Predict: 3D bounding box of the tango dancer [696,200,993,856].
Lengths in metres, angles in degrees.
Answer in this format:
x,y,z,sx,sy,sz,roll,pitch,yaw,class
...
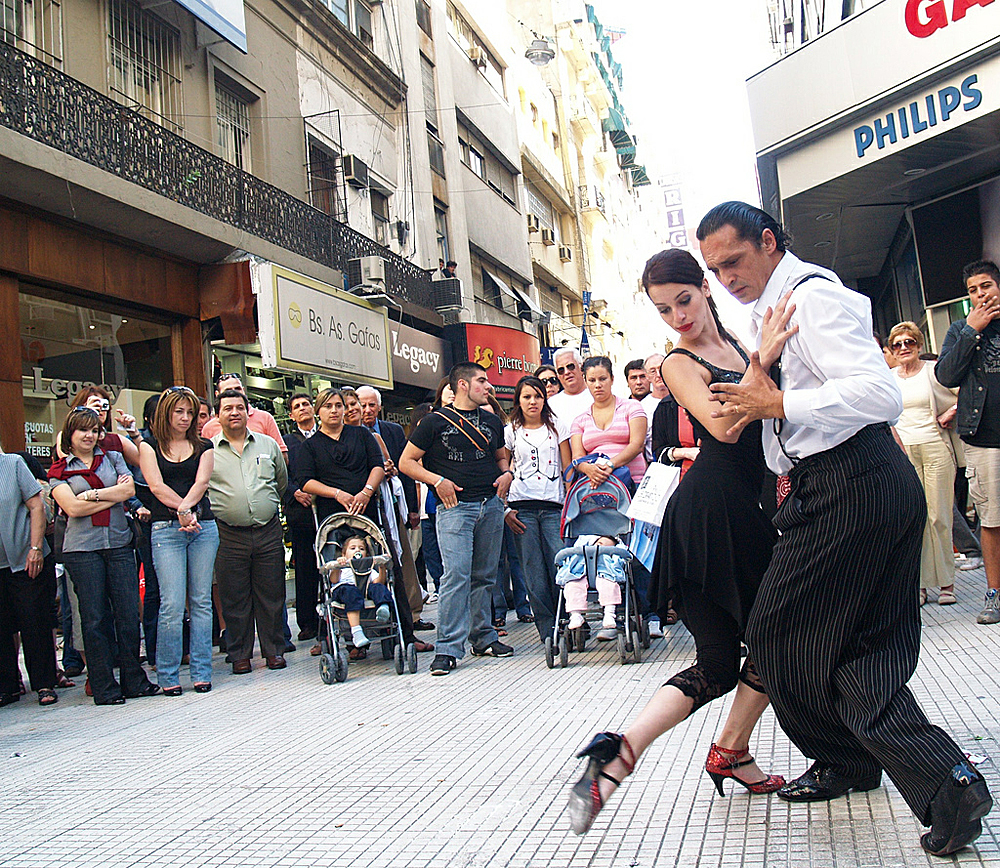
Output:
x,y,z,sx,sy,sz,roll,pitch,yaw,class
1.183,0.295,2.797,1.063,2.397,0.862,-2,0,-5,tango dancer

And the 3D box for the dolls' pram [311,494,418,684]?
x,y,z,sx,sy,sz,roll,pitch,yaw,class
-1.164,1.339,6.733,0.812,1.525,0.895,2,4,-7,dolls' pram

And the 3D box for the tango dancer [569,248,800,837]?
x,y,z,sx,sy,sz,roll,pitch,yaw,class
0.857,0.366,3.006,1.370,2.089,0.586,-4,-1,-21,tango dancer
